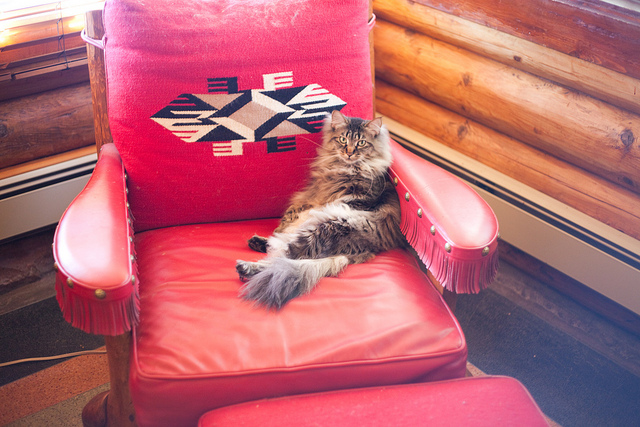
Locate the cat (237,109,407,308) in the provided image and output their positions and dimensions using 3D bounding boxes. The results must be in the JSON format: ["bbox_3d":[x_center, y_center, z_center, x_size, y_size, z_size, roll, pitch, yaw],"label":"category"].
[{"bbox_3d":[0.043,-0.063,2.040,0.557,0.508,0.940,5,25,26],"label":"cat"}]
